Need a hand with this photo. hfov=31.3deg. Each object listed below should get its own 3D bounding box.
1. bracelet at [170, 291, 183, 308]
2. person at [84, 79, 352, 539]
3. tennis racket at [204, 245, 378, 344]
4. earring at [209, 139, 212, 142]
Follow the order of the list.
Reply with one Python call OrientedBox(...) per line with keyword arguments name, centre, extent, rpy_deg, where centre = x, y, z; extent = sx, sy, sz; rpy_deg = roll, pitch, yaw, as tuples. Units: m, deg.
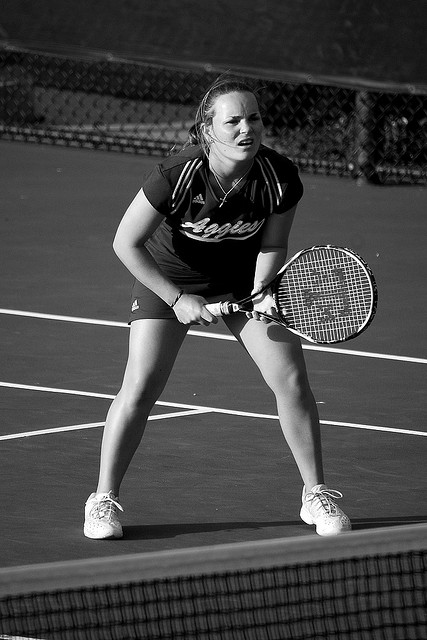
OrientedBox(name="bracelet", centre=(-0.107, -0.055, 2.106), extent=(0.010, 0.039, 0.039), rpy_deg=(39, -26, -10))
OrientedBox(name="person", centre=(0.039, -0.024, 2.206), extent=(0.718, 1.310, 0.420), rpy_deg=(4, 0, -9))
OrientedBox(name="tennis racket", centre=(0.139, -0.054, 2.691), extent=(0.881, 0.316, 0.061), rpy_deg=(-7, 1, 18))
OrientedBox(name="earring", centre=(-0.008, -0.485, 2.053), extent=(0.003, 0.010, 0.010), rpy_deg=(-2, 5, -28))
